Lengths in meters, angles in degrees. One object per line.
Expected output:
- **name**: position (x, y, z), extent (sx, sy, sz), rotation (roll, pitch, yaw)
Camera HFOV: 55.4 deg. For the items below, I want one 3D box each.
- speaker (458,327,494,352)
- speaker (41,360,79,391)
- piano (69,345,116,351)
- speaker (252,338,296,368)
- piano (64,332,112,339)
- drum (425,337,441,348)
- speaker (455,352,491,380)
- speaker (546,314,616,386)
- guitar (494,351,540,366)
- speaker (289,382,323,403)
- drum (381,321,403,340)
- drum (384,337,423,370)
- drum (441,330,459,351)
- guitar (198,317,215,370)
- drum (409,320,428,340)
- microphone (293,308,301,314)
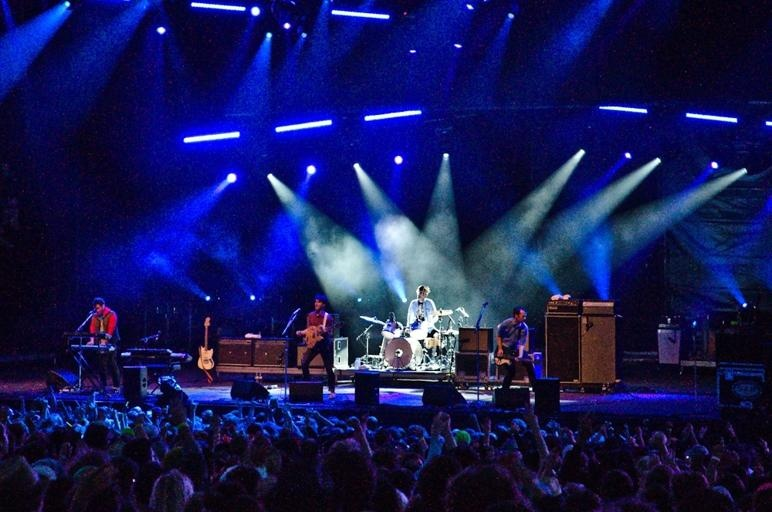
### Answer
- **speaker**: position (1.925, 1.823, 15.839), extent (0.880, 0.638, 0.499), rotation (-1, -3, 16)
- **speaker**: position (-6.958, 2.559, 15.642), extent (0.505, 0.264, 0.724), rotation (16, -16, 11)
- **piano**: position (-5.743, 1.801, 14.322), extent (0.832, 0.151, 0.290), rotation (-1, -11, -1)
- **speaker**: position (-2.587, 2.266, 16.904), extent (1.126, 0.794, 0.651), rotation (-1, -5, 13)
- **piano**: position (-5.840, 1.559, 14.361), extent (0.859, 0.144, 0.539), rotation (4, -13, -22)
- **drum**: position (1.041, 1.941, 16.269), extent (0.236, 0.209, 0.244), rotation (-2, -3, 38)
- **speaker**: position (1.884, 2.375, 15.846), extent (0.772, 0.600, 0.362), rotation (-2, -11, 7)
- **speaker**: position (4.108, 1.997, 15.222), extent (1.459, 1.390, 0.781), rotation (1, -2, 14)
- **guitar**: position (2.651, 2.025, 14.390), extent (0.880, 0.322, 0.607), rotation (5, -13, -25)
- **speaker**: position (-1.449, 2.484, 13.342), extent (0.425, 0.268, 0.443), rotation (0, -4, 3)
- **drum**: position (0.162, 1.676, 16.495), extent (0.449, 0.428, 0.568), rotation (-1, -11, -1)
- **drum**: position (0.399, 2.057, 16.326), extent (0.838, 0.839, 0.669), rotation (-1, -1, 26)
- **drum**: position (1.449, 1.907, 16.544), extent (0.412, 0.378, 0.416), rotation (1, -9, 4)
- **guitar**: position (-4.362, 2.169, 17.927), extent (0.394, 1.351, 1.121), rotation (2, -11, -14)
- **drum**: position (0.729, 1.647, 16.336), extent (0.387, 0.268, 0.390), rotation (2, -29, 1)
- **microphone**: position (-2.159, 1.348, 17.815), extent (0.120, 0.144, 0.528), rotation (42, -13, -1)
